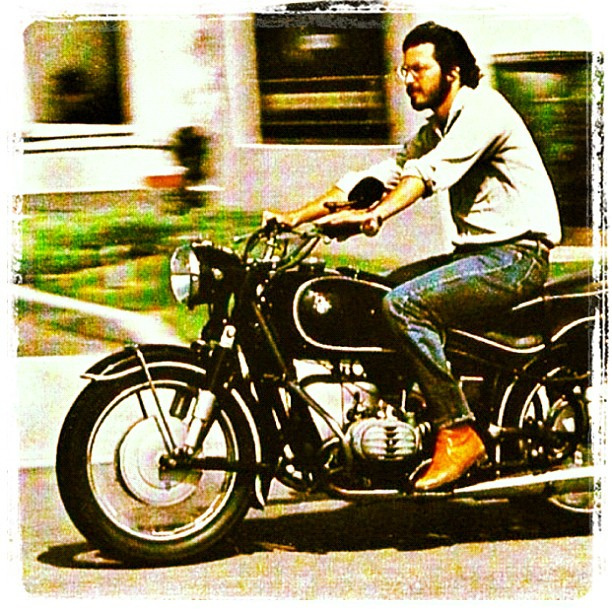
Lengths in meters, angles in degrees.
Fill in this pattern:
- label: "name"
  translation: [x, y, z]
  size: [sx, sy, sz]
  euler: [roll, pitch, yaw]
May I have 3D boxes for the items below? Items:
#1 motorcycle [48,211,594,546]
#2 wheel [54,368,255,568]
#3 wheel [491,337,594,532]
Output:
- label: "motorcycle"
  translation: [-0.053, 0.336, 5.821]
  size: [2.841, 1.765, 1.244]
  euler: [-1, -1, -11]
- label: "wheel"
  translation: [-0.672, 0.711, 5.265]
  size: [0.924, 1.183, 0.176]
  euler: [-2, 25, -9]
- label: "wheel"
  translation: [1.166, 0.626, 5.549]
  size: [0.595, 0.890, 0.244]
  euler: [-3, 1, -9]
